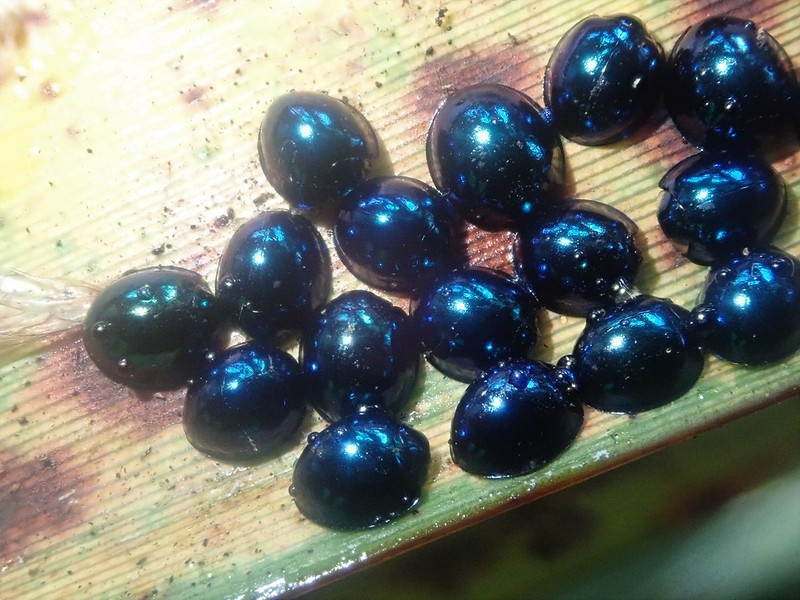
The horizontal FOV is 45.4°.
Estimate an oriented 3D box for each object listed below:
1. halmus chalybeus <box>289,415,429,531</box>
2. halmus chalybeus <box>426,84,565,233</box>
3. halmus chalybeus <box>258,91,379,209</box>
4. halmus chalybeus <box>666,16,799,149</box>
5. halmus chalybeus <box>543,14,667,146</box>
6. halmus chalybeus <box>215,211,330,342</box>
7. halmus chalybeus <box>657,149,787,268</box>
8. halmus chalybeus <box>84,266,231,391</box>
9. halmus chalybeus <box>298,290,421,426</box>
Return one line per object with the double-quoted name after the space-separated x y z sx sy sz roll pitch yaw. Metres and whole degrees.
-0.079 0.329 1.824 0.279 0.146 0.181 -20 60 -1 "halmus chalybeus"
0.182 -0.276 1.887 0.265 0.241 0.228 38 73 25 "halmus chalybeus"
-0.150 -0.287 1.931 0.176 0.235 0.186 -11 73 44 "halmus chalybeus"
0.628 -0.379 1.805 0.239 0.155 0.269 -4 95 6 "halmus chalybeus"
0.402 -0.423 1.891 0.213 0.214 0.190 8 63 14 "halmus chalybeus"
-0.284 -0.048 1.931 0.276 0.311 0.183 -9 78 6 "halmus chalybeus"
0.619 -0.169 1.908 0.221 0.137 0.210 -30 76 11 "halmus chalybeus"
-0.473 0.118 1.941 0.252 0.275 0.180 -7 109 1 "halmus chalybeus"
-0.085 0.116 1.866 0.207 0.173 0.233 19 67 19 "halmus chalybeus"
